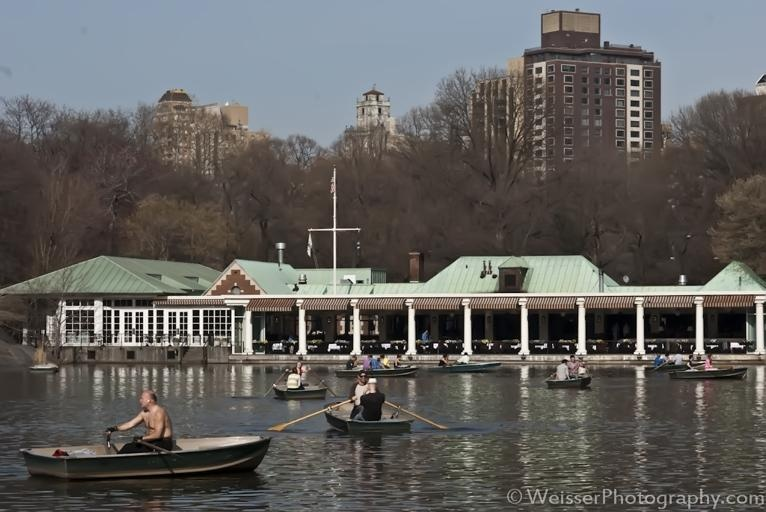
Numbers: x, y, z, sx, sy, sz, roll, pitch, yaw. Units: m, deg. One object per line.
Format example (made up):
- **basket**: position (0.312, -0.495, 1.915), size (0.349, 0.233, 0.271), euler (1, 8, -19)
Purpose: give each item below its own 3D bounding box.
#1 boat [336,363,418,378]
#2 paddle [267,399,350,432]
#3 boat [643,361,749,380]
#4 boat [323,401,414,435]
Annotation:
- **boat**: position (-0.635, 10.508, 163.786), size (6.716, 0.966, 4.673), euler (2, -7, -34)
- **paddle**: position (-5.977, 12.630, 141.846), size (7.474, 1.049, 0.320), euler (-18, 2, -23)
- **boat**: position (28.390, 10.372, 161.359), size (11.050, 1.872, 2.904), euler (-2, -4, 23)
- **boat**: position (-1.048, 12.616, 138.187), size (4.012, 1.712, 7.445), euler (-2, -1, 31)
